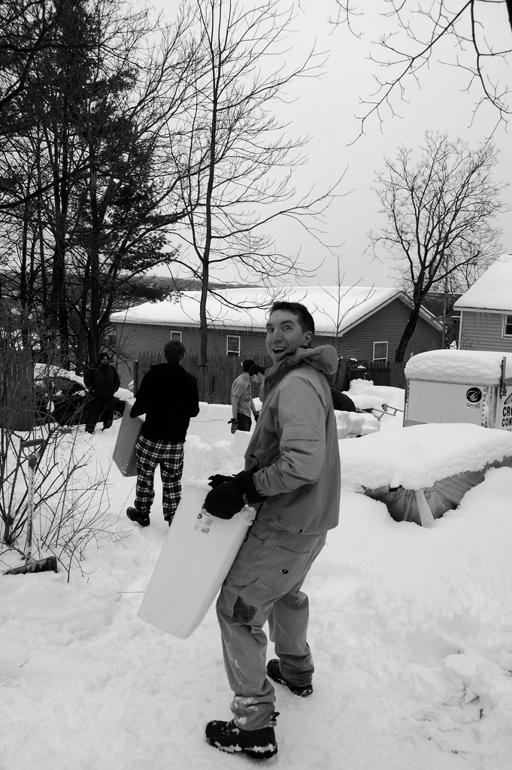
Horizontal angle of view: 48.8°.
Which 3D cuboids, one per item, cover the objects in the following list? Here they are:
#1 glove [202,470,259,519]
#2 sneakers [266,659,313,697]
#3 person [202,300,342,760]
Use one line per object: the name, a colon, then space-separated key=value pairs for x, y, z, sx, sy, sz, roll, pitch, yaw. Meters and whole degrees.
glove: x=-0.091 y=0.426 z=2.108 sx=0.156 sy=0.105 sz=0.221 roll=16 pitch=40 yaw=28
sneakers: x=0.166 y=1.380 z=2.707 sx=0.090 sy=0.124 sz=0.234 roll=-12 pitch=29 yaw=-38
person: x=0.087 y=0.537 z=2.328 sx=0.478 sy=1.779 sz=0.646 roll=5 pitch=3 yaw=11
